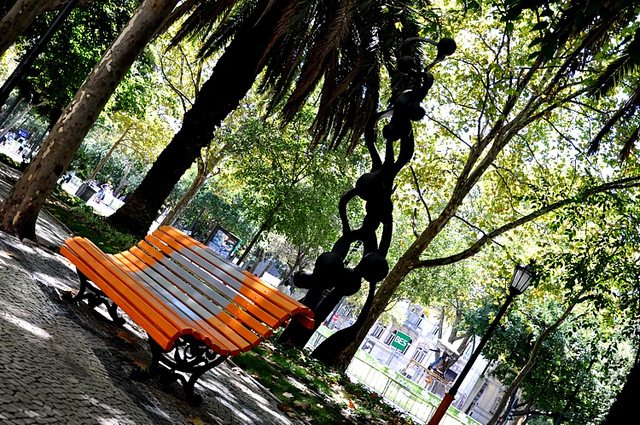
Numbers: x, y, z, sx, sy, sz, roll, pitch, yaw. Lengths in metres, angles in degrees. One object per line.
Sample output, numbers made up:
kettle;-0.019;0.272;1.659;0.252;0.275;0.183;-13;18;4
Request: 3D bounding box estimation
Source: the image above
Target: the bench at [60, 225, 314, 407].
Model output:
bench;-2.303;1.607;7.302;2.220;1.458;3.591;13;13;-47
